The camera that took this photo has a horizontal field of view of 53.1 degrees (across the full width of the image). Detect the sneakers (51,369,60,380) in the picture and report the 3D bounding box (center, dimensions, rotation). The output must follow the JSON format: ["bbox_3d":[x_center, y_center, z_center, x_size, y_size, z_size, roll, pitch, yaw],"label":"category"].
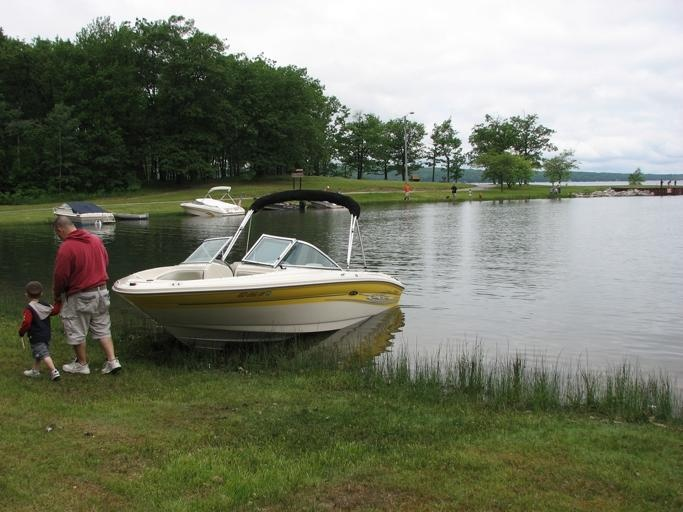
[{"bbox_3d":[-4.724,1.948,11.305,0.139,0.158,0.274,-4,12,-18],"label":"sneakers"}]

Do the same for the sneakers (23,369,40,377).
[{"bbox_3d":[-5.130,1.952,11.344,0.307,0.105,0.099,1,9,11],"label":"sneakers"}]

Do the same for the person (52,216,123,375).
[{"bbox_3d":[-4.355,0.680,11.597,0.982,2.733,0.763,-4,15,-16],"label":"person"}]

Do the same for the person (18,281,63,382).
[{"bbox_3d":[-4.997,1.235,11.320,0.647,1.589,0.786,-4,15,-19],"label":"person"}]

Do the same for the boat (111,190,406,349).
[{"bbox_3d":[-1.669,0.399,14.949,3.036,2.149,6.266,6,6,41],"label":"boat"}]
